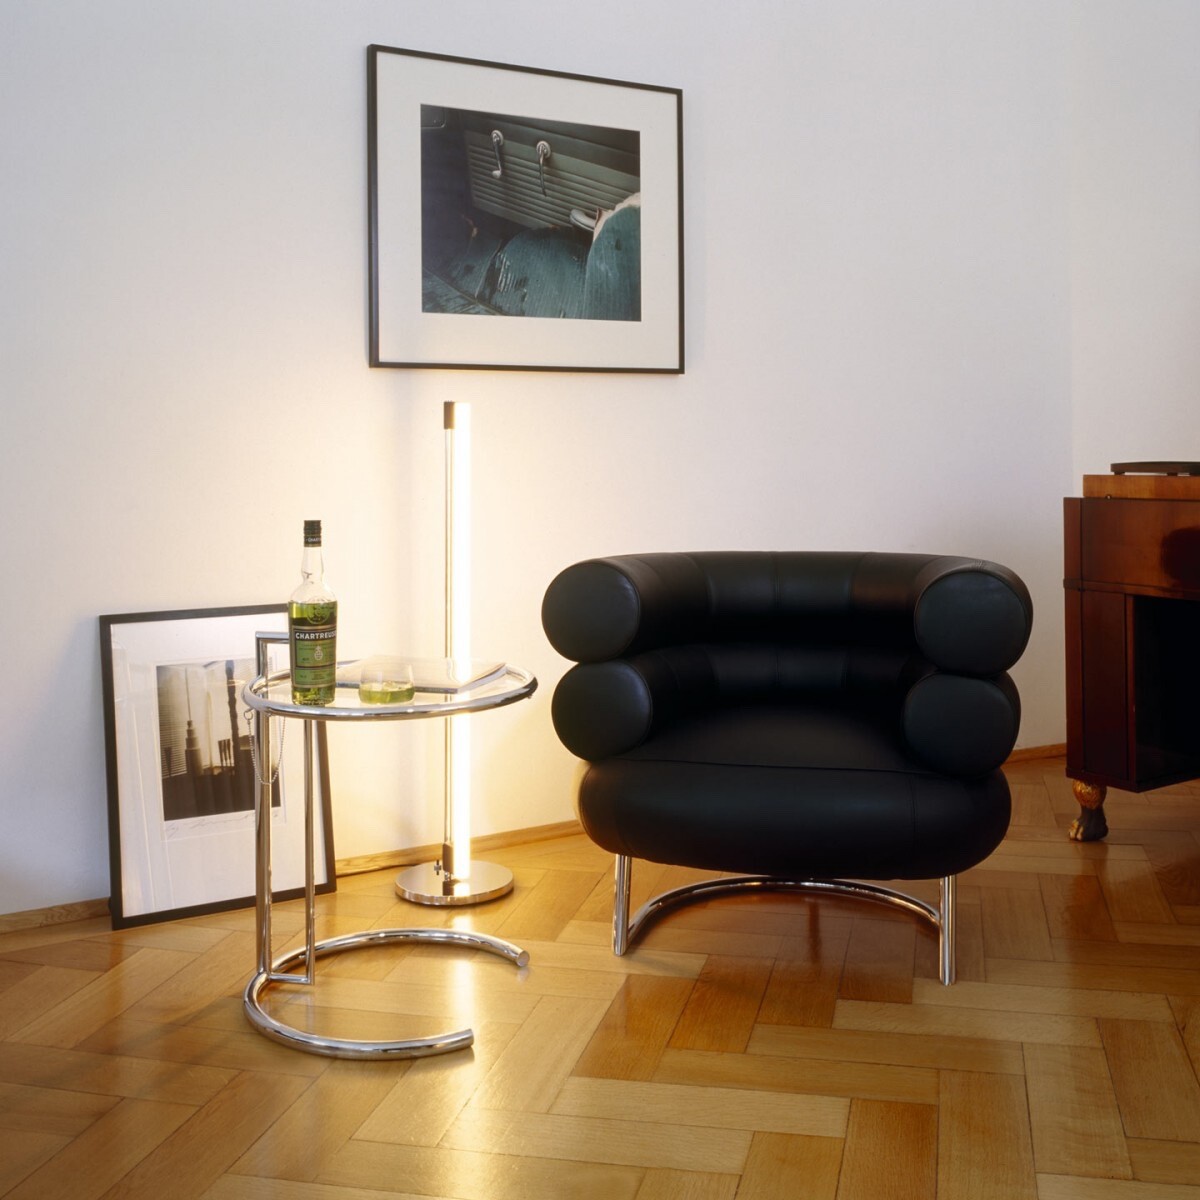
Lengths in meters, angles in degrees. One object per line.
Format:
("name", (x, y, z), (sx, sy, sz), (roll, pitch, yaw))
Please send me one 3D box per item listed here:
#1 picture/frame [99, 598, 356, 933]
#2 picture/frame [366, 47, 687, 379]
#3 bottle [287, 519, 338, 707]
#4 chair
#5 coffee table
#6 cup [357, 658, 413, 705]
("picture/frame", (-0.822, 0.351, 2.403), (0.663, 0.930, 0.032), (-1, -1, -37))
("picture/frame", (-0.216, -0.981, 2.821), (0.872, 0.772, 0.058), (-2, 6, -26))
("bottle", (-0.500, 0.011, 1.949), (0.074, 0.293, 0.354), (-2, 4, -15))
("chair", (0.386, 0.299, 2.288), (0.884, 0.791, 0.741), (0, 4, 22))
("coffee table", (-0.384, 0.414, 2.111), (0.585, 0.680, 0.607), (1, 2, 8))
("cup", (-0.361, 0.136, 1.899), (0.069, 0.052, 0.072), (0, -3, 0))
